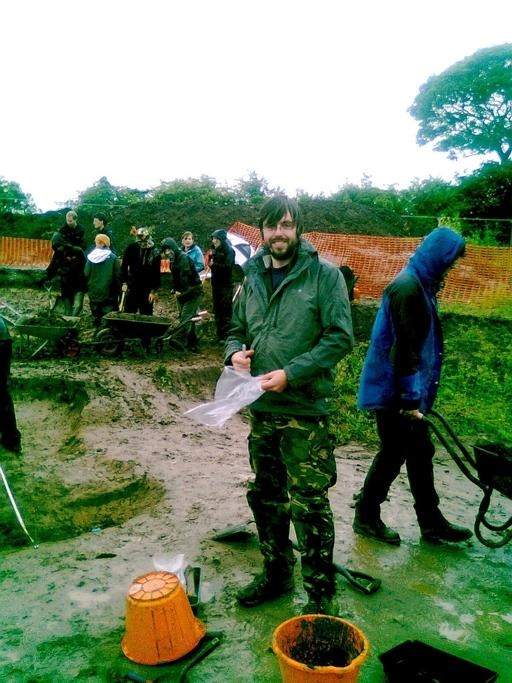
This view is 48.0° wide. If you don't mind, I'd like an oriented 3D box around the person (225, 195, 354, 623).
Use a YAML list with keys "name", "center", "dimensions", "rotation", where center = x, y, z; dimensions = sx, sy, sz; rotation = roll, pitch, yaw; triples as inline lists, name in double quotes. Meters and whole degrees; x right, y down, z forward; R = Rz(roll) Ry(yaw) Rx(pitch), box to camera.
- name: "person"
  center: [0.141, 0.321, 2.838]
  dimensions: [0.475, 2.043, 0.706]
  rotation: [-6, 11, -34]

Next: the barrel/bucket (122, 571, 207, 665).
- name: "barrel/bucket"
  center: [-0.423, 1.210, 2.539]
  dimensions: [0.352, 0.212, 0.342]
  rotation: [-4, 5, 0]

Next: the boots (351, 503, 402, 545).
- name: "boots"
  center: [0.760, 1.197, 3.799]
  dimensions: [0.410, 0.241, 0.147]
  rotation: [5, -1, 22]

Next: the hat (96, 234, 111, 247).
- name: "hat"
  center: [-2.330, -1.526, 8.708]
  dimensions: [0.206, 0.204, 0.337]
  rotation: [-2, 8, -15]

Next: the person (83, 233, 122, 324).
- name: "person"
  center: [-2.312, -0.895, 8.678]
  dimensions: [0.507, 1.425, 0.560]
  rotation: [-1, 9, -5]

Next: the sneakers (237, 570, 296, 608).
- name: "sneakers"
  center: [0.032, 1.276, 3.012]
  dimensions: [0.375, 0.196, 0.116]
  rotation: [4, 1, -22]

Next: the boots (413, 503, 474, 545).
- name: "boots"
  center: [1.137, 1.179, 3.757]
  dimensions: [0.498, 0.303, 0.155]
  rotation: [-5, 8, 7]
